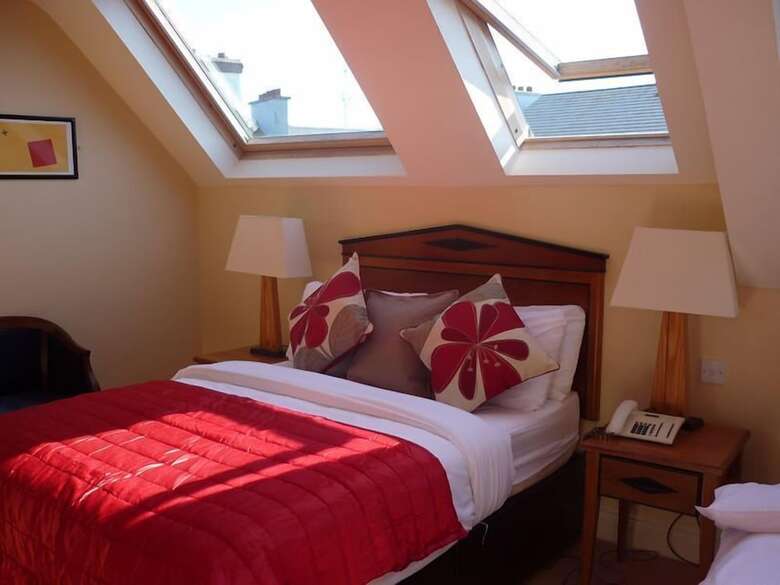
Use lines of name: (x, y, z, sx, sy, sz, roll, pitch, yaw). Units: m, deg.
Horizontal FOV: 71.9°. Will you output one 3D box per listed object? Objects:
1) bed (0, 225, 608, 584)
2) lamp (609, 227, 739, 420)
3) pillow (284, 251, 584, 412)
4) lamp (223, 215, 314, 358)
bed: (-0.331, 0.454, 2.458, 1.338, 0.969, 1.371, 10, 17, 39)
lamp: (1.278, 0.150, 2.432, 0.618, 0.830, 0.623, 0, 4, -18)
pillow: (0.441, 0.022, 3.018, 1.331, 0.668, 0.593, 11, 17, 37)
lamp: (-0.829, -0.071, 3.738, 0.805, 1.326, 0.408, 9, 13, 40)
